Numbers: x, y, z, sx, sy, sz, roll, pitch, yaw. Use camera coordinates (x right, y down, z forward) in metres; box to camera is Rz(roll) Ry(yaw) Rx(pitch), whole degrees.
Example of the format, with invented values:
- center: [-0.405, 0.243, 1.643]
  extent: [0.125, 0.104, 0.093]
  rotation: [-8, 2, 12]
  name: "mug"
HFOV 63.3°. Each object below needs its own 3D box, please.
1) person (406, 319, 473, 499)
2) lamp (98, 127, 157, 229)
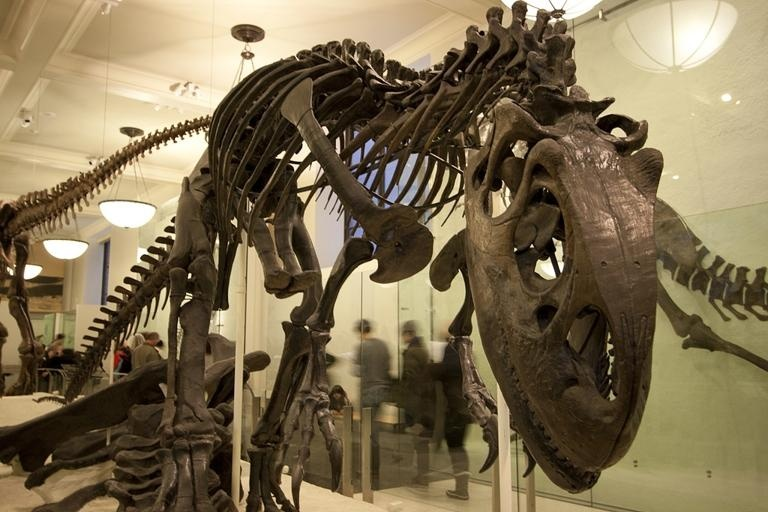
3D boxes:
- center: [0.524, 1.550, 5.961]
  extent: [0.194, 1.414, 0.686]
  rotation: [10, -16, -31]
  name: "person"
- center: [-3.421, -1.056, 8.327]
  extent: [0.708, 1.269, 0.715]
  rotation: [-7, -9, 40]
  name: "lamp"
